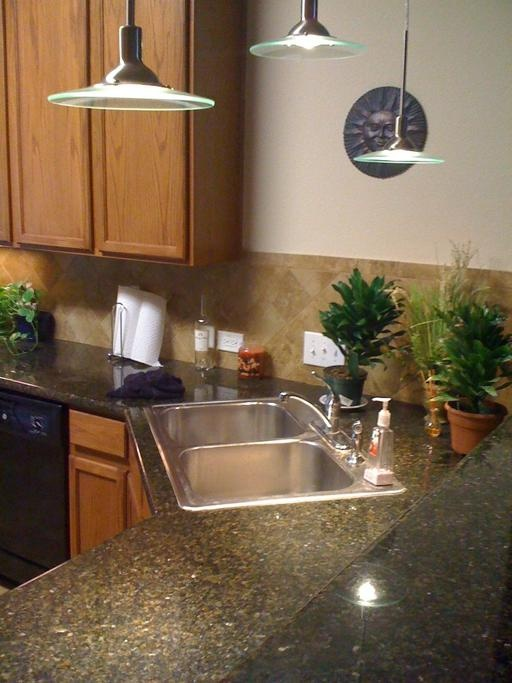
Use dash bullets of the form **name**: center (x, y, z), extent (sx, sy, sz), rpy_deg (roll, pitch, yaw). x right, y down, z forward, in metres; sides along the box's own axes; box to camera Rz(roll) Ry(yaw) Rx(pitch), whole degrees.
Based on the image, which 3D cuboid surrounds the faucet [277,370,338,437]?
- **faucet**: center (0.131, 0.169, 1.846), extent (0.057, 0.144, 0.383), rpy_deg (-6, 20, -16)

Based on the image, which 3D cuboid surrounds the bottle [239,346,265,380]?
- **bottle**: center (-0.020, 0.082, 2.318), extent (0.114, 0.115, 0.114), rpy_deg (-6, 10, -44)

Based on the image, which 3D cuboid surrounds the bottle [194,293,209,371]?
- **bottle**: center (-0.206, -0.036, 2.385), extent (0.057, 0.288, 0.131), rpy_deg (2, 12, -4)

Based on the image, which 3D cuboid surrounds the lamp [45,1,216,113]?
- **lamp**: center (-0.257, -0.584, 1.277), extent (0.294, 0.186, 0.292), rpy_deg (-8, 15, -42)

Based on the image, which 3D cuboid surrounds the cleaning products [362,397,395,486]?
- **cleaning products**: center (0.290, 0.213, 1.404), extent (0.072, 0.210, 0.149), rpy_deg (5, 12, 12)

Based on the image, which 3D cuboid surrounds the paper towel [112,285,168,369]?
- **paper towel**: center (-0.461, -0.052, 2.434), extent (0.185, 0.288, 0.327), rpy_deg (9, 1, 30)
